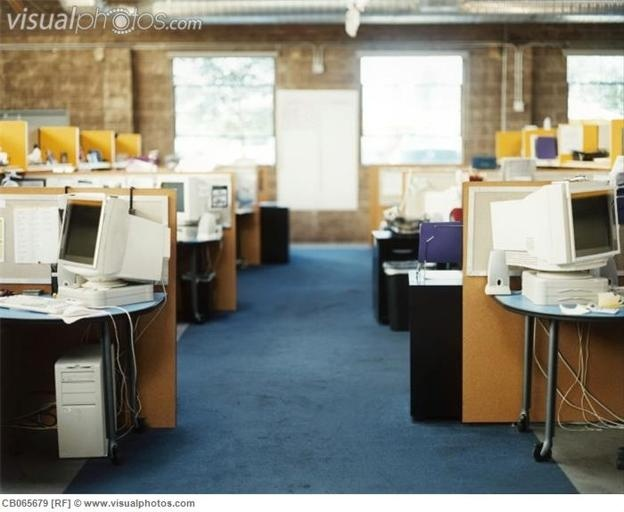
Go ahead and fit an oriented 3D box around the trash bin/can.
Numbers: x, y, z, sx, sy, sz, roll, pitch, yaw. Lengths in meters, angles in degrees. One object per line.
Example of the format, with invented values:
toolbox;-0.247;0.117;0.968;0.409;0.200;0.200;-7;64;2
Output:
trash bin/can;0.722;0.332;5.809;0.493;0.694;0.481;0;9;5

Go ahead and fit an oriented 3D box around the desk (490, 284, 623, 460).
desk;1.206;0.616;3.680;0.712;0.582;0.757;0;8;10

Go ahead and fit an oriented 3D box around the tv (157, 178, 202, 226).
tv;-1.143;-0.489;6.075;0.385;0.453;0.283;-3;11;-14

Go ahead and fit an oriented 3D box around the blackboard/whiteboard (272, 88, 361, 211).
blackboard/whiteboard;0.066;-1.945;11.898;1.980;2.986;0.251;0;2;-7

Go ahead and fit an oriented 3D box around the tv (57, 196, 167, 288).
tv;-1.035;-0.083;3.670;0.406;0.464;0.483;3;2;40

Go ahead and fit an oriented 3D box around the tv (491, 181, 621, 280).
tv;1.291;-0.159;3.743;0.482;0.405;0.507;-5;7;-29
